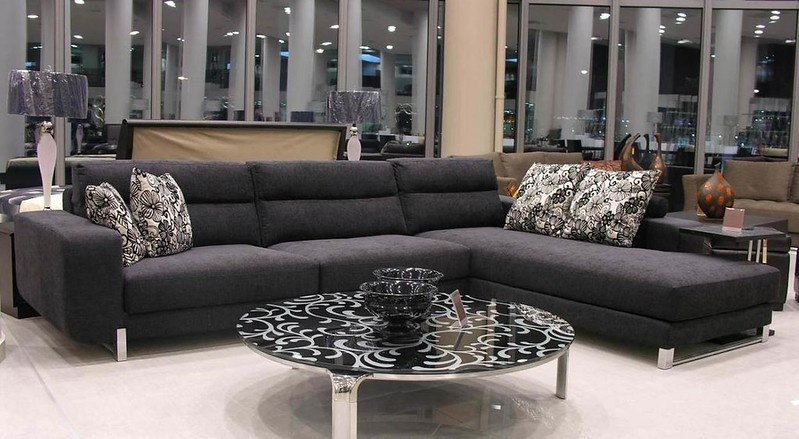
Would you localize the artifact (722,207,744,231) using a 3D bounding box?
[{"bbox_3d":[2.891,0.009,4.792,0.198,0.177,0.049,7,6,45],"label":"artifact"}]

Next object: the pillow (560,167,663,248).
[{"bbox_3d":[1.922,-0.023,5.256,0.303,0.767,0.896,1,6,-35],"label":"pillow"}]

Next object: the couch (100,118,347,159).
[{"bbox_3d":[-1.618,-0.763,5.708,2.254,0.458,0.422,-5,10,-31],"label":"couch"}]

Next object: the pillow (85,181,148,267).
[{"bbox_3d":[-2.180,0.033,4.303,0.399,0.616,0.267,8,15,38],"label":"pillow"}]

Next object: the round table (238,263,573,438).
[{"bbox_3d":[0.031,0.777,3.745,2.143,0.801,1.121,-4,11,-13],"label":"round table"}]

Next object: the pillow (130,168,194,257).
[{"bbox_3d":[-1.922,-0.034,4.448,0.388,0.598,0.718,6,9,19],"label":"pillow"}]

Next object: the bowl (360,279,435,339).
[{"bbox_3d":[-0.015,0.581,3.676,0.440,0.236,0.398,-1,10,3],"label":"bowl"}]

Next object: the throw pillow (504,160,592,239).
[{"bbox_3d":[1.518,-0.236,5.628,0.912,0.747,0.249,-9,19,-29],"label":"throw pillow"}]
